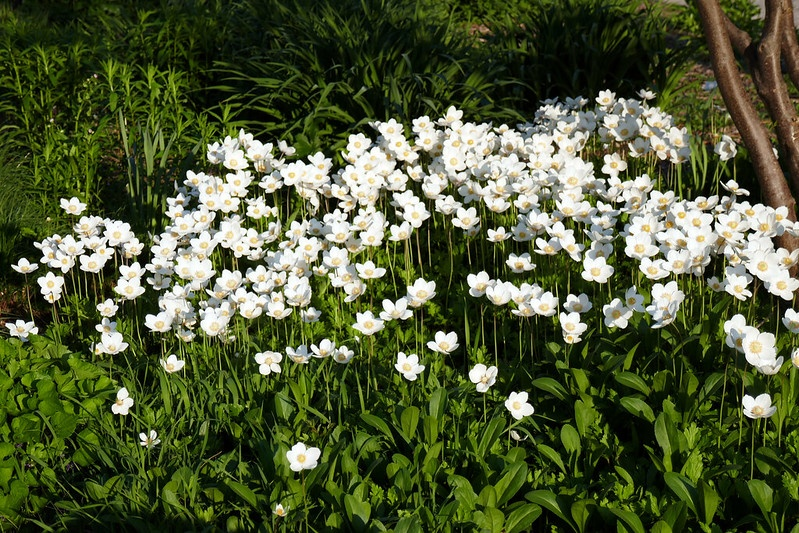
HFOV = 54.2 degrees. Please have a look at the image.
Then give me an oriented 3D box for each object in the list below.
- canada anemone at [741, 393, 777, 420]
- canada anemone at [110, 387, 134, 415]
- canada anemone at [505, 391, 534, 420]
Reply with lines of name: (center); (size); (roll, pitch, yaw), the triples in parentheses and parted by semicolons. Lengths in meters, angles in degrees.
canada anemone: (1.845, 0.708, 4.017); (0.154, 0.128, 0.153); (2, 16, 24)
canada anemone: (-1.542, 0.740, 4.335); (0.125, 0.149, 0.062); (4, -4, -30)
canada anemone: (0.640, 0.737, 4.208); (0.137, 0.143, 0.109); (-6, 15, -7)
